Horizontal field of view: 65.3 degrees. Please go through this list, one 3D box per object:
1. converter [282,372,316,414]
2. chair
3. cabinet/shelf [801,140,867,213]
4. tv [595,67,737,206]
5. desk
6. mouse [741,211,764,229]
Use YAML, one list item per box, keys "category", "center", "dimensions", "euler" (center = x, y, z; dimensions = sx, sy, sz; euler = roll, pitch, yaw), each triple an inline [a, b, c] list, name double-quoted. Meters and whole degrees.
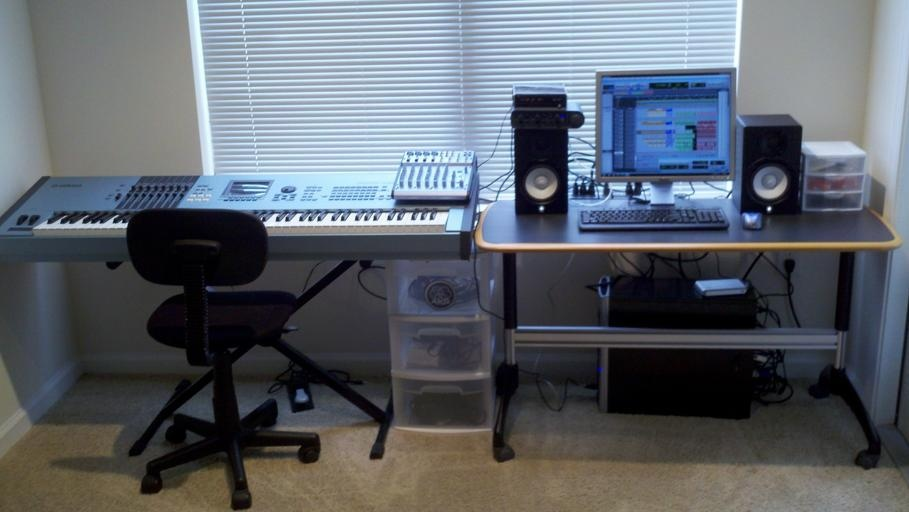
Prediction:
- category: "converter"
  center: [-0.968, 0.840, 4.411]
  dimensions: [0.155, 0.077, 0.242]
  euler: [-9, 37, -16]
- category: "chair"
  center: [-1.271, 0.503, 3.781]
  dimensions: [0.935, 1.559, 0.632]
  euler: [-2, 19, -4]
- category: "cabinet/shelf"
  center: [2.110, -0.437, 3.957]
  dimensions: [0.398, 0.313, 0.383]
  euler: [0, 10, 11]
- category: "tv"
  center: [1.200, -0.699, 4.028]
  dimensions: [0.912, 0.773, 0.165]
  euler: [0, 4, 5]
- category: "desk"
  center: [1.248, 0.418, 4.013]
  dimensions: [2.264, 1.311, 0.706]
  euler: [0, 19, 3]
- category: "mouse"
  center: [1.603, -0.200, 3.819]
  dimensions: [0.110, 0.086, 0.105]
  euler: [2, 10, 11]
